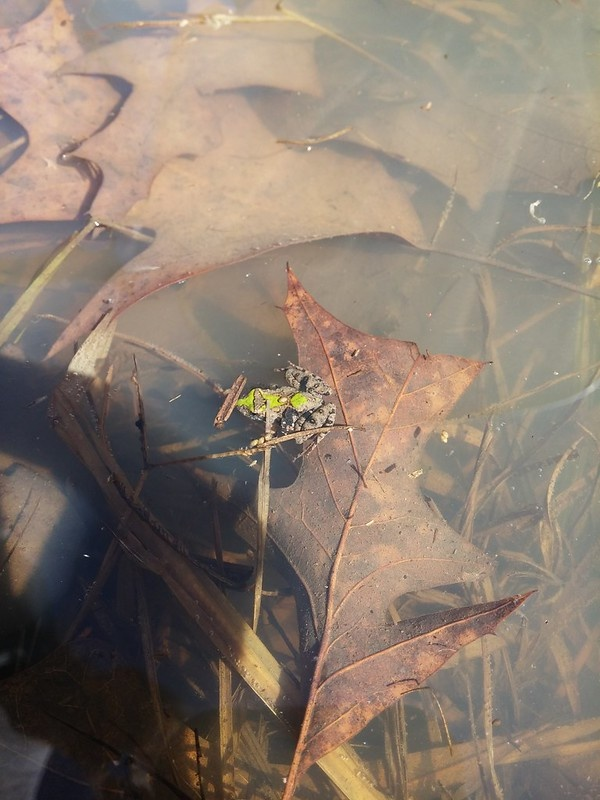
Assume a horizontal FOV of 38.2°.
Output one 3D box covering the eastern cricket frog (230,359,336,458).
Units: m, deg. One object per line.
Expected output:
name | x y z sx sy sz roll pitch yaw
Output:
eastern cricket frog | -0.037 0.058 4.997 0.554 0.194 0.517 3 79 26
